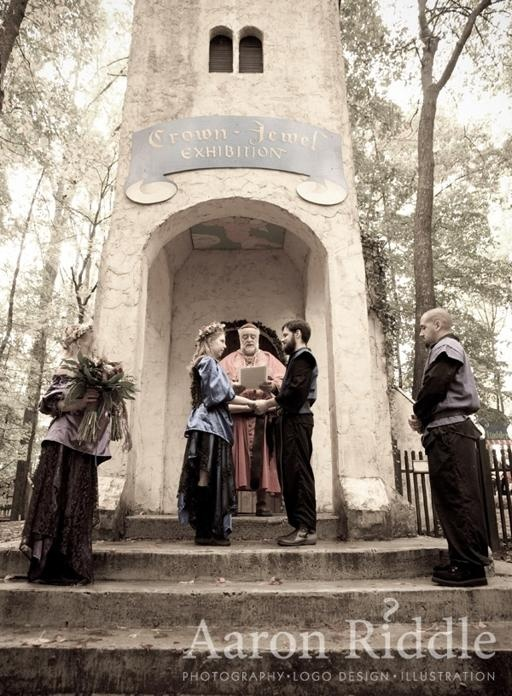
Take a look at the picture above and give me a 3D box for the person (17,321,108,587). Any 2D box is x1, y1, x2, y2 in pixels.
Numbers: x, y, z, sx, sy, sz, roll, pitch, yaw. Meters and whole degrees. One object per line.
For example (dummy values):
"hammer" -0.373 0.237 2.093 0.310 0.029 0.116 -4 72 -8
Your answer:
"person" -1.265 0.839 3.677 0.499 1.423 0.287 7 -18 -19

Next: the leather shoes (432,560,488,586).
"leather shoes" 1.276 1.444 3.415 0.321 0.127 0.211 -9 -20 29

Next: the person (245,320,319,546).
"person" 0.330 0.650 4.434 0.339 1.864 0.386 -1 -17 6

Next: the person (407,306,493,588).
"person" 1.298 0.607 3.662 0.446 1.874 0.345 -6 -18 21

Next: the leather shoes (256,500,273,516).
"leather shoes" 0.090 1.713 5.615 0.091 0.182 0.279 7 -27 -21

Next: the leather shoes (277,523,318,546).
"leather shoes" 0.321 1.468 4.194 0.285 0.131 0.131 9 -23 -20

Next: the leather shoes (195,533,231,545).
"leather shoes" -0.342 1.530 4.245 0.294 0.125 0.099 -22 -28 40

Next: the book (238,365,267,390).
"book" -0.031 0.286 5.084 0.193 0.194 0.272 -2 -6 1
